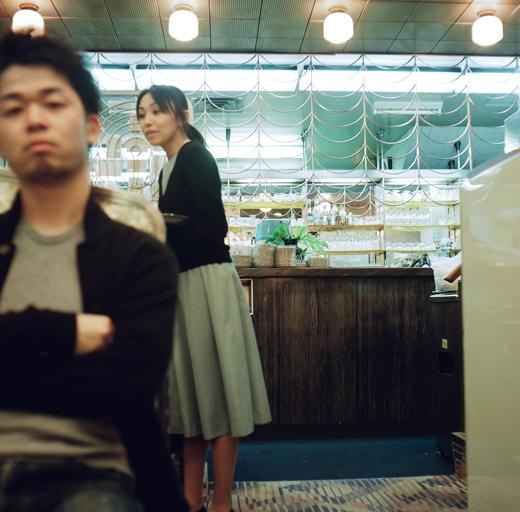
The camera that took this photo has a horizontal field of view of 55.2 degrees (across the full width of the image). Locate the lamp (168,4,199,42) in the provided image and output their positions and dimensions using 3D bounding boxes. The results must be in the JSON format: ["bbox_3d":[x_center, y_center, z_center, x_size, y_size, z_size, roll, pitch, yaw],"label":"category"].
[{"bbox_3d":[-0.540,-1.707,3.693,0.233,0.237,0.245,-1,-4,9],"label":"lamp"}]

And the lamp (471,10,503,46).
[{"bbox_3d":[1.713,-1.754,3.789,0.212,0.216,0.224,3,25,23],"label":"lamp"}]

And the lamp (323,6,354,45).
[{"bbox_3d":[0.583,-1.752,3.801,0.247,0.286,0.247,-1,5,-14],"label":"lamp"}]
